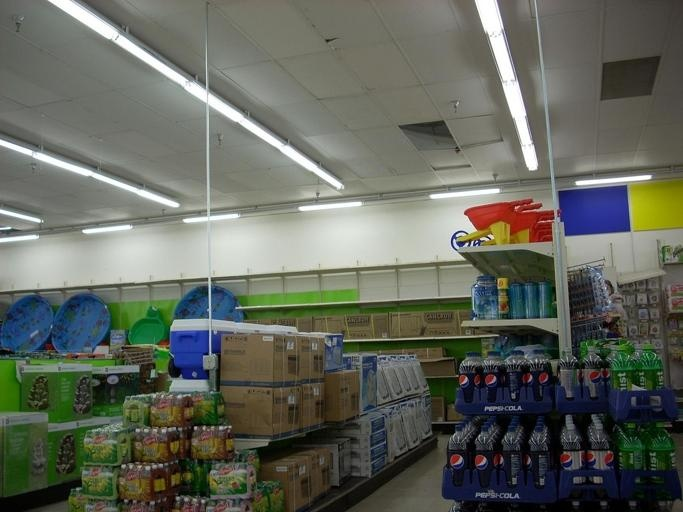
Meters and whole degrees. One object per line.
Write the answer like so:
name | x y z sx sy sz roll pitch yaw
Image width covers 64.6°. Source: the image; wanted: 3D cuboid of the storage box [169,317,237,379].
storage box | -1.278 0.865 5.097 0.346 0.477 0.663 -3 -12 13

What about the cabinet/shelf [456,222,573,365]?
cabinet/shelf | 1.492 0.642 4.696 0.862 1.345 1.999 0 -10 15

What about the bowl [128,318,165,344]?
bowl | -4.556 1.735 12.692 1.013 0.635 0.390 -6 -11 25

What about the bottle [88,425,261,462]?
bottle | -1.511 1.572 4.528 1.309 0.295 0.259 -1 -10 -2

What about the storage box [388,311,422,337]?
storage box | 1.294 1.347 10.692 0.514 0.510 0.131 1 -11 12

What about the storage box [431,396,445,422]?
storage box | 1.796 2.837 10.261 0.328 0.487 0.487 -2 -10 19

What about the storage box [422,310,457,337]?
storage box | 1.943 1.311 10.523 0.767 0.444 0.534 0 -6 9

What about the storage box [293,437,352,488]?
storage box | -0.136 2.190 5.739 0.340 0.503 0.478 -1 -3 -10

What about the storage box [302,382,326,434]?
storage box | -0.276 1.464 5.262 0.306 0.422 0.584 -3 -7 10

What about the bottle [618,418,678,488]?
bottle | 1.837 1.145 3.265 0.309 0.282 0.159 -5 -11 24

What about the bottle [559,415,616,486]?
bottle | 1.519 1.196 3.367 0.312 0.395 0.185 -3 -10 14

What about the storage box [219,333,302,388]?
storage box | -0.749 0.918 4.887 0.499 0.349 0.525 -2 -7 18

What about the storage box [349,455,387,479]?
storage box | 0.251 2.364 6.048 0.213 0.098 0.387 -5 -8 17

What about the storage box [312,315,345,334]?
storage box | -0.259 1.381 10.999 0.579 0.353 0.387 2 -4 1

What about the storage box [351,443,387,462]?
storage box | 0.288 2.210 6.096 0.234 0.081 0.345 -6 -13 26

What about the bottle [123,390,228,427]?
bottle | -1.441 1.312 4.650 0.818 0.269 0.280 -3 -10 9

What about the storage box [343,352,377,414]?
storage box | 0.207 1.500 6.322 0.321 0.638 0.623 -3 -8 19
